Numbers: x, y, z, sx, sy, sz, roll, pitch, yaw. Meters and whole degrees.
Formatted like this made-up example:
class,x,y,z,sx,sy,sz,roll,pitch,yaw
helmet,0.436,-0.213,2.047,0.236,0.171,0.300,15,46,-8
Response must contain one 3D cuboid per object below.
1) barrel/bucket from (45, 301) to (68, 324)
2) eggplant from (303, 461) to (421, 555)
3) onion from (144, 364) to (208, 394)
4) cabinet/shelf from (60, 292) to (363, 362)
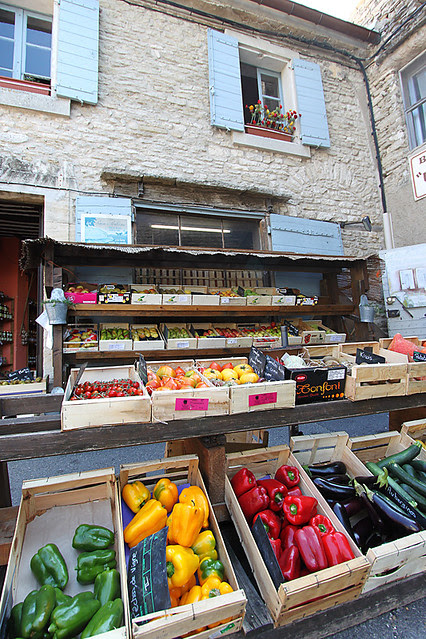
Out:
class,x,y,z,sx,sy,sz,roll,pitch,yaw
barrel/bucket,-1.447,-0.066,3.859,0.205,0.190,0.194,-1,-2,0
eggplant,0.752,0.888,2.145,0.496,0.332,0.396,-1,7,-16
onion,-0.217,0.313,2.233,0.195,0.099,0.239,-3,8,-37
cabinet/shelf,-0.055,-0.024,5.179,3.345,0.698,1.462,-2,16,-17
